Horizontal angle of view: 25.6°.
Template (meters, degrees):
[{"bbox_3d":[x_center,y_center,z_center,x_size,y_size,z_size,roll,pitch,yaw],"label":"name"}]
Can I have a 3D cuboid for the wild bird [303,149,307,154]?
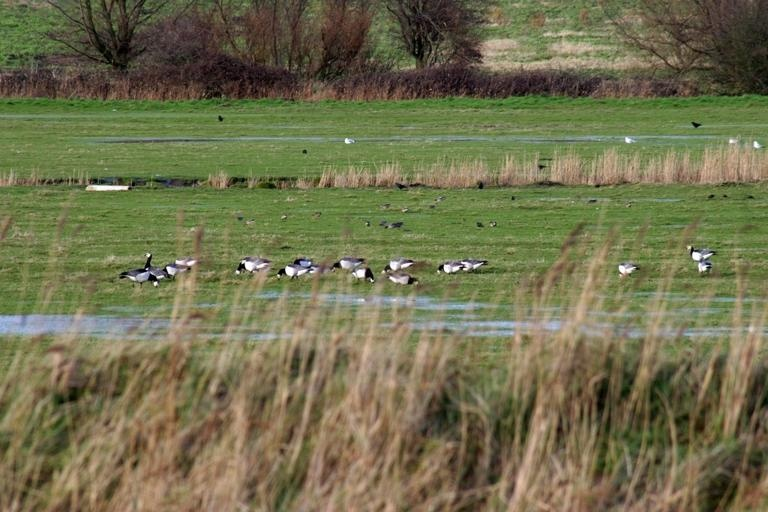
[{"bbox_3d":[-3.193,-4.438,68.628,0.246,0.183,0.167,-2,9,-6],"label":"wild bird"}]

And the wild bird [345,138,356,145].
[{"bbox_3d":[-1.391,-5.034,70.802,0.326,0.277,0.440,-2,-5,35],"label":"wild bird"}]

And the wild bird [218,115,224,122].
[{"bbox_3d":[-7.727,-6.717,79.480,0.302,0.202,0.526,2,5,-5],"label":"wild bird"}]

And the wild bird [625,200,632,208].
[{"bbox_3d":[8.838,-1.988,59.923,0.260,0.111,0.335,-2,5,5],"label":"wild bird"}]
